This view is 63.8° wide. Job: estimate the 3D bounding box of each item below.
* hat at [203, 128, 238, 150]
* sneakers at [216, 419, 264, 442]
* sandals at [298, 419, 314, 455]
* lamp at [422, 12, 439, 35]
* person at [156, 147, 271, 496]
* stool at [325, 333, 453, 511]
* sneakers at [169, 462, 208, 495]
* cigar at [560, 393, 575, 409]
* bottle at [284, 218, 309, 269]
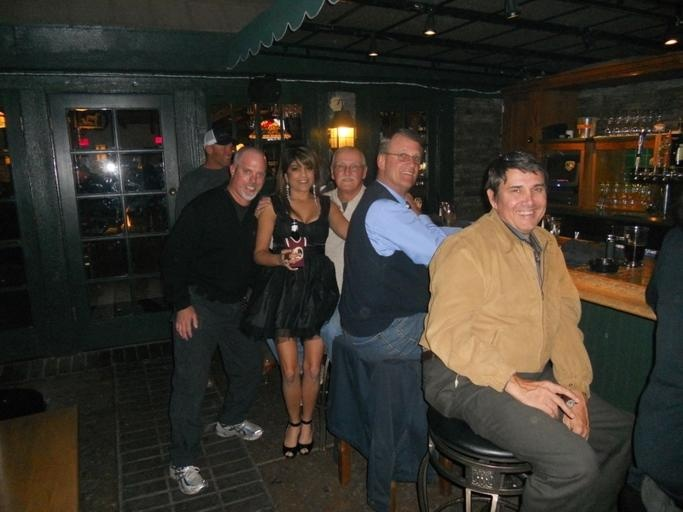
[{"bbox_3d":[-1.213,-1.177,5.499,0.311,0.164,0.219,-1,24,-7],"label":"hat"},{"bbox_3d":[-0.874,1.512,4.749,0.383,0.167,0.155,-3,18,0],"label":"sneakers"},{"bbox_3d":[-0.292,1.480,4.470,0.109,0.292,0.119,-2,-15,-6],"label":"sandals"},{"bbox_3d":[0.893,-2.351,5.569,0.098,0.207,0.311,0,13,12],"label":"lamp"},{"bbox_3d":[-1.016,0.621,4.306,0.428,2.256,0.966,5,16,31],"label":"person"},{"bbox_3d":[0.306,1.074,4.372,1.139,1.307,0.973,-5,12,-28],"label":"stool"},{"bbox_3d":[-1.194,1.698,4.264,0.232,0.187,0.319,-10,14,-30],"label":"sneakers"},{"bbox_3d":[1.364,0.882,3.333,0.058,0.045,0.072,1,17,-18],"label":"cigar"},{"bbox_3d":[-0.349,-0.084,4.184,0.159,0.362,0.244,-3,13,-1],"label":"bottle"}]
